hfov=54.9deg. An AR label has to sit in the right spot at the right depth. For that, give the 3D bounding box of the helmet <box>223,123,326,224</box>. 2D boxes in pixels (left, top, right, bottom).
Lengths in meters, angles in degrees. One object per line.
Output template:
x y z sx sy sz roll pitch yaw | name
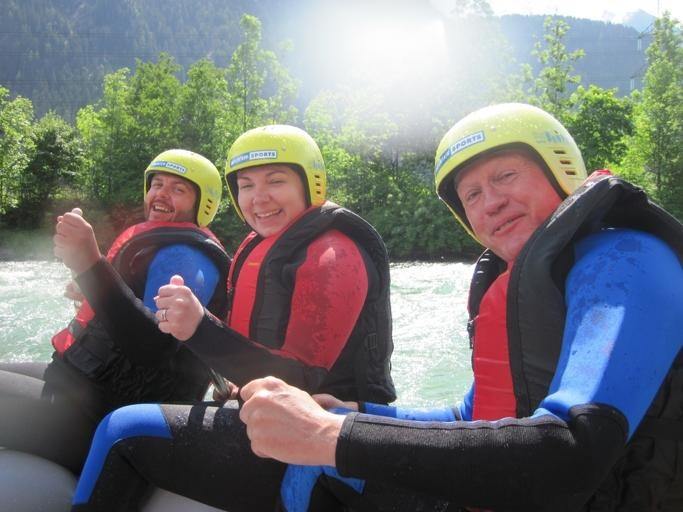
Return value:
-0.360 -0.510 4.006 0.469 0.499 0.614 -7 4 27 | helmet

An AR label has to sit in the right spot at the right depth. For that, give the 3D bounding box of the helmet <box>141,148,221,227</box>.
-1.150 -0.512 4.809 0.464 0.564 0.591 6 5 31 | helmet
